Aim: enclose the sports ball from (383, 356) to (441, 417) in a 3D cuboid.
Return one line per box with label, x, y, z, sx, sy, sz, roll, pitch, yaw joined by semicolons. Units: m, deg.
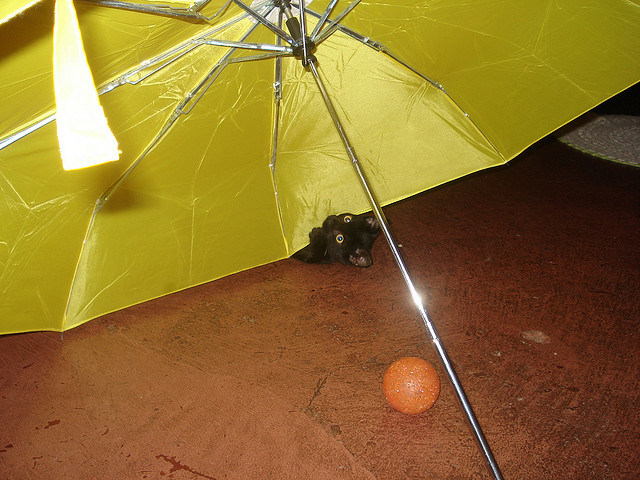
sports ball;0.546;0.861;3.170;0.333;0.364;0.403;-18;4;-1
